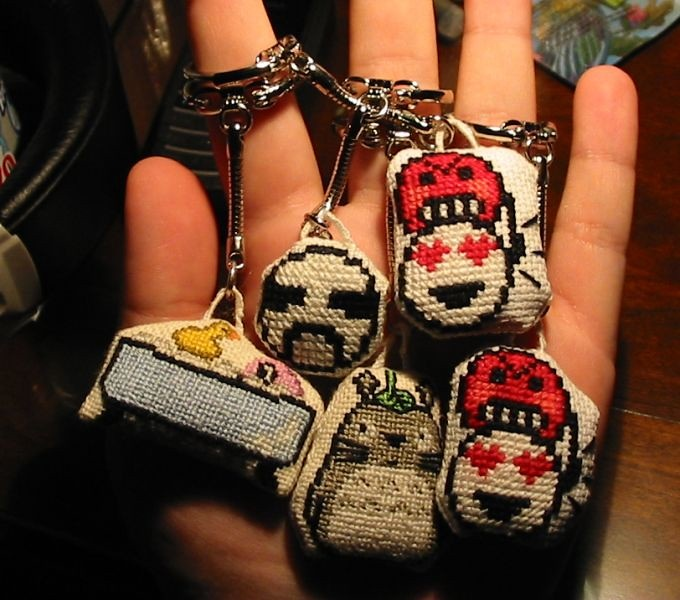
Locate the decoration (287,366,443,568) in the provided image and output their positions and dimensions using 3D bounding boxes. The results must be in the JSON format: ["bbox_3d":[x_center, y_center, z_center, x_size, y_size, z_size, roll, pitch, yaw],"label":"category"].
[{"bbox_3d":[0.046,0.212,0.875,0.135,0.195,0.191,10,52,7],"label":"decoration"}]

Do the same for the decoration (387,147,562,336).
[{"bbox_3d":[0.134,-0.062,0.853,0.167,0.081,0.227,-6,73,14],"label":"decoration"}]

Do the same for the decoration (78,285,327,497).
[{"bbox_3d":[-0.138,0.103,0.826,0.182,0.066,0.174,23,59,-4],"label":"decoration"}]

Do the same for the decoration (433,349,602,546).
[{"bbox_3d":[0.191,0.158,0.809,0.181,0.074,0.233,-10,55,9],"label":"decoration"}]

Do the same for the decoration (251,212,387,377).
[{"bbox_3d":[-0.020,-0.001,0.791,0.114,0.044,0.159,3,85,3],"label":"decoration"}]
